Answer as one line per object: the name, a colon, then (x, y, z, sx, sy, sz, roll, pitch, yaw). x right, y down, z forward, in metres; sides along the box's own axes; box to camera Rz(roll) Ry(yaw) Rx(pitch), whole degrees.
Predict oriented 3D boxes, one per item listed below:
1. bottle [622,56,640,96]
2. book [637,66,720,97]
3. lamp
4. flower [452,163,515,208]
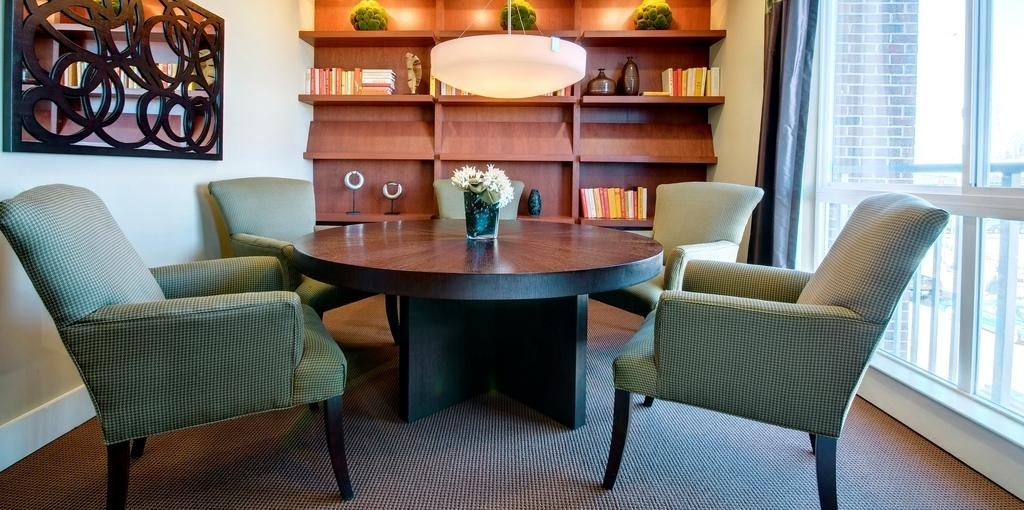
bottle: (1.128, -1.719, 6.575, 0.191, 0.360, 0.180, -2, 15, 0)
book: (1.669, -1.643, 6.498, 0.553, 0.255, 0.149, 1, 15, 10)
lamp: (-0.080, -1.339, 5.175, 0.907, 0.758, 0.858, 0, 3, -33)
flower: (-0.164, -0.496, 4.757, 0.422, 0.218, 0.389, -6, 21, -27)
